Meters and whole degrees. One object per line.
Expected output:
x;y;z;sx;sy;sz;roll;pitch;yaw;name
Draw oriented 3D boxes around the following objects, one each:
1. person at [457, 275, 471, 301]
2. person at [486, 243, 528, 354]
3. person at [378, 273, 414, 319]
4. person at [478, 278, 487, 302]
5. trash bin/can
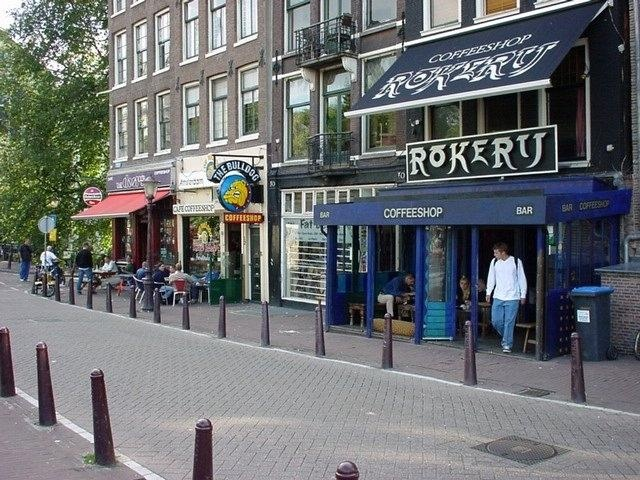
3.586;1.236;18.566;0.283;0.603;0.742;0;-2;11;person
4.138;1.274;16.599;0.807;2.422;0.825;1;1;24;person
2.014;1.450;19.126;0.937;1.139;0.860;1;-2;-22;person
4.062;1.251;18.683;0.184;0.556;1.212;0;-2;12;person
5.768;1.786;15.869;0.858;1.525;0.995;-1;-1;24;trash bin/can
